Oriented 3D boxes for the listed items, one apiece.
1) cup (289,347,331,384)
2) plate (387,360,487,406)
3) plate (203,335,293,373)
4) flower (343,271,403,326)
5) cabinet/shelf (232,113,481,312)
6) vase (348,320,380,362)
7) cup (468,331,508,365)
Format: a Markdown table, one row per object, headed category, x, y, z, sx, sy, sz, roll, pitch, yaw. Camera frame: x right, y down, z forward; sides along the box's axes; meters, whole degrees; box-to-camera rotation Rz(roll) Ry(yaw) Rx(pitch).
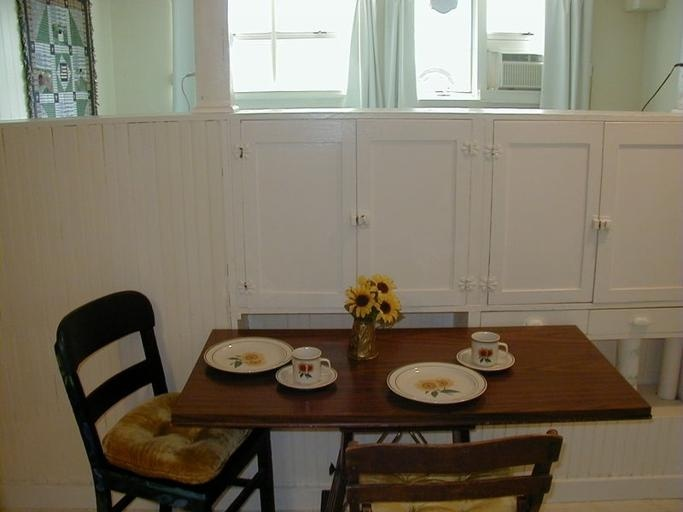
| category | x | y | z | sx | sy | sz | roll | pitch | yaw |
| --- | --- | --- | --- | --- | --- | --- | --- | --- | --- |
| cup | -0.106 | 0.418 | 2.037 | 0.142 | 0.100 | 0.097 | -1 | 0 | -12 |
| plate | 0.336 | 0.455 | 1.980 | 0.345 | 0.035 | 0.230 | 1 | 17 | 6 |
| plate | -0.360 | 0.398 | 2.170 | 0.341 | 0.041 | 0.346 | 2 | 13 | -1 |
| flower | 0.114 | 0.171 | 2.137 | 0.231 | 0.204 | 0.083 | 9 | 2 | -22 |
| cabinet/shelf | 0.061 | -0.180 | 2.517 | 1.039 | 0.844 | 0.356 | -1 | 10 | -7 |
| vase | 0.108 | 0.332 | 2.211 | 0.138 | 0.152 | 0.134 | -2 | 2 | 21 |
| cup | 0.574 | 0.367 | 2.111 | 0.147 | 0.104 | 0.094 | 5 | 12 | 27 |
